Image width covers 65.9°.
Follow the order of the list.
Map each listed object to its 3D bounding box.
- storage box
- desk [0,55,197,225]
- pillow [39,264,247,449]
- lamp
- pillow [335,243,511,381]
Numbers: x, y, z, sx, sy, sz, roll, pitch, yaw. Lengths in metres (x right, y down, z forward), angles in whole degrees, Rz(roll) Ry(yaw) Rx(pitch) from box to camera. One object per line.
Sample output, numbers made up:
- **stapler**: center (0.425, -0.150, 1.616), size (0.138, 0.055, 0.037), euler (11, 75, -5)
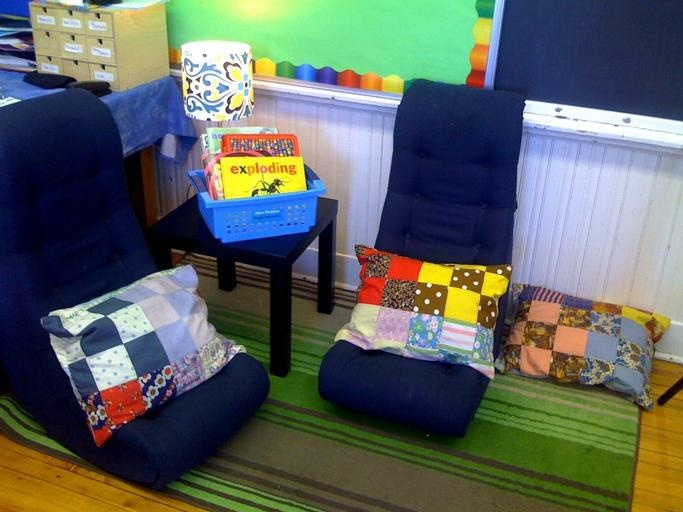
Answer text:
- **storage box**: center (-0.406, -0.281, 2.436), size (0.469, 0.240, 0.570), euler (8, -4, -36)
- **desk**: center (-1.071, -0.570, 2.565), size (0.645, 0.352, 0.573), euler (21, 41, 12)
- **pillow**: center (-0.736, 0.358, 1.950), size (0.545, 0.395, 0.333), euler (-20, 35, -40)
- **lamp**: center (-0.542, -0.796, 2.465), size (0.346, 0.336, 0.379), euler (6, 20, 19)
- **pillow**: center (0.351, 0.214, 2.281), size (0.675, 0.362, 0.359), euler (11, 27, 13)
